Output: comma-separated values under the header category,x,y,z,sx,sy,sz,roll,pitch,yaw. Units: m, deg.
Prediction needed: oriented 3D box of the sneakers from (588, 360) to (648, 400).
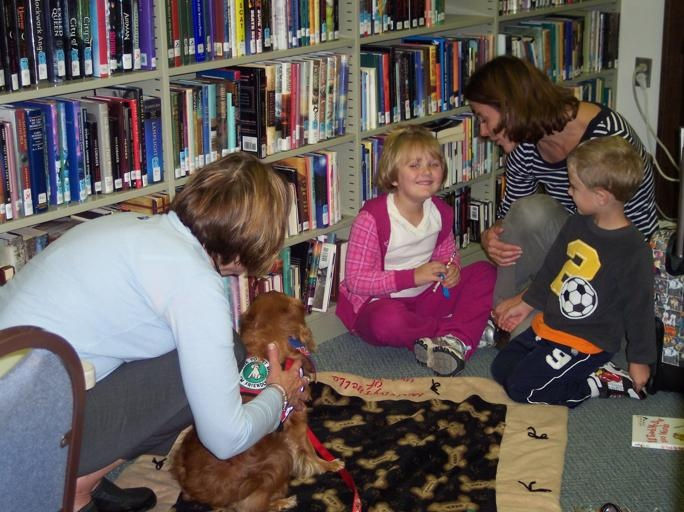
category,x,y,z,sx,sy,sz,roll,pitch,yaw
sneakers,1.206,0.550,2.559,0.172,0.195,0.080,6,-16,3

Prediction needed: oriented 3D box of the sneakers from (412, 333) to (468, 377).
category,x,y,z,sx,sy,sz,roll,pitch,yaw
sneakers,0.465,0.478,2.870,0.148,0.134,0.308,-11,22,-37
